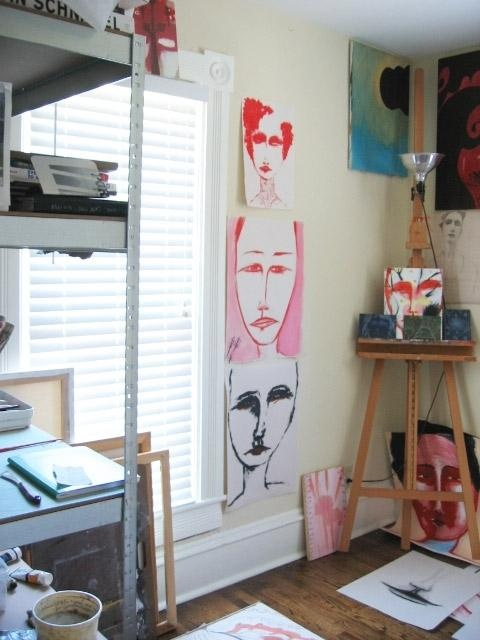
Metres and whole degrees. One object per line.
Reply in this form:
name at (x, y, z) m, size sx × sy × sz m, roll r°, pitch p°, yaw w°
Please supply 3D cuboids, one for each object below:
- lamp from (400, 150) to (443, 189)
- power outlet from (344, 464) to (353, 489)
lamp at (0.809, -0.686, 2.410) m, size 0.168 × 0.124 × 0.162 m, roll -2°, pitch 4°, yaw -5°
power outlet at (0.522, 0.754, 2.583) m, size 0.012 × 0.127 × 0.098 m, roll -9°, pitch -13°, yaw 37°
